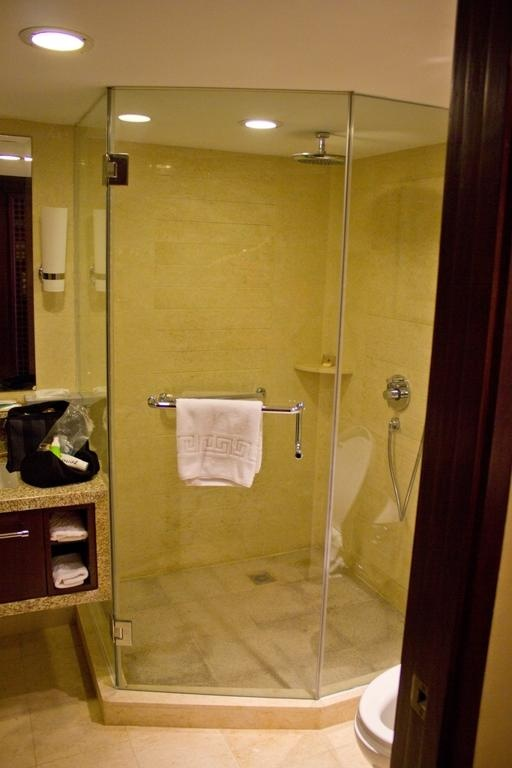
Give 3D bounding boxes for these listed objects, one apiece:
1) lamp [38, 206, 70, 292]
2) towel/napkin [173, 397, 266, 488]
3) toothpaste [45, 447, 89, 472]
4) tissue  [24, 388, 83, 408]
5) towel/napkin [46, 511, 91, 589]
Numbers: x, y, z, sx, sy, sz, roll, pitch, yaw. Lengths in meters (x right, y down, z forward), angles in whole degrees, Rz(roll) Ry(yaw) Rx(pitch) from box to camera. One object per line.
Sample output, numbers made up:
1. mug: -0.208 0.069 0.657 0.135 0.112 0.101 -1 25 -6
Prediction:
1. lamp: -0.806 -0.526 2.370 0.116 0.326 0.075 -3 10 -21
2. towel/napkin: -0.125 0.182 2.015 0.269 0.298 0.086 1 9 0
3. toothpaste: -0.677 0.237 2.096 0.199 0.052 0.055 23 -1 27
4. tissue : -0.833 0.058 2.431 0.216 0.055 0.154 -3 10 -24
5. towel/napkin: -0.642 0.569 2.045 0.159 0.069 0.222 0 4 -13
